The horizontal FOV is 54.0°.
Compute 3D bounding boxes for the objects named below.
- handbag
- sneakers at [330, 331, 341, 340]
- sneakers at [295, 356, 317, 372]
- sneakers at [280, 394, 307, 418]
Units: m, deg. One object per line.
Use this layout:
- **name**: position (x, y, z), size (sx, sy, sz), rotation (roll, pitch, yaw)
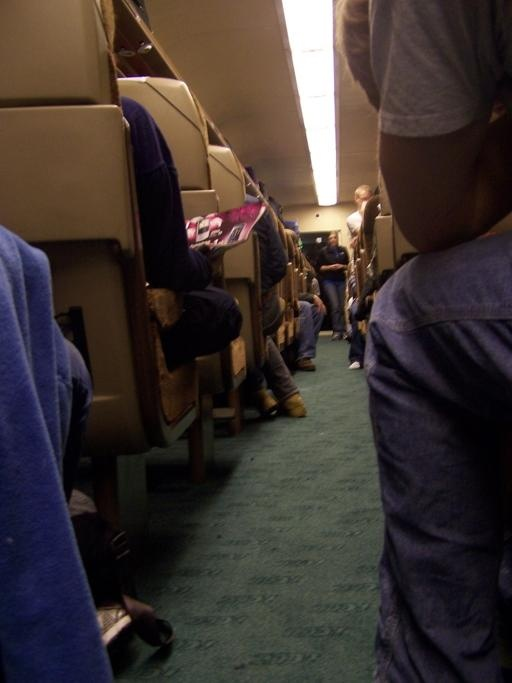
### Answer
- **handbag**: position (-0.248, 0.410, 0.909), size (0.153, 0.245, 0.276), rotation (-4, 2, -23)
- **sneakers**: position (1.548, -0.112, 9.720), size (0.103, 0.056, 0.200), rotation (1, 28, 19)
- **sneakers**: position (0.508, 0.246, 5.125), size (0.081, 0.132, 0.261), rotation (-1, -5, -16)
- **sneakers**: position (0.227, 0.371, 2.869), size (0.068, 0.107, 0.240), rotation (-6, -28, -8)
